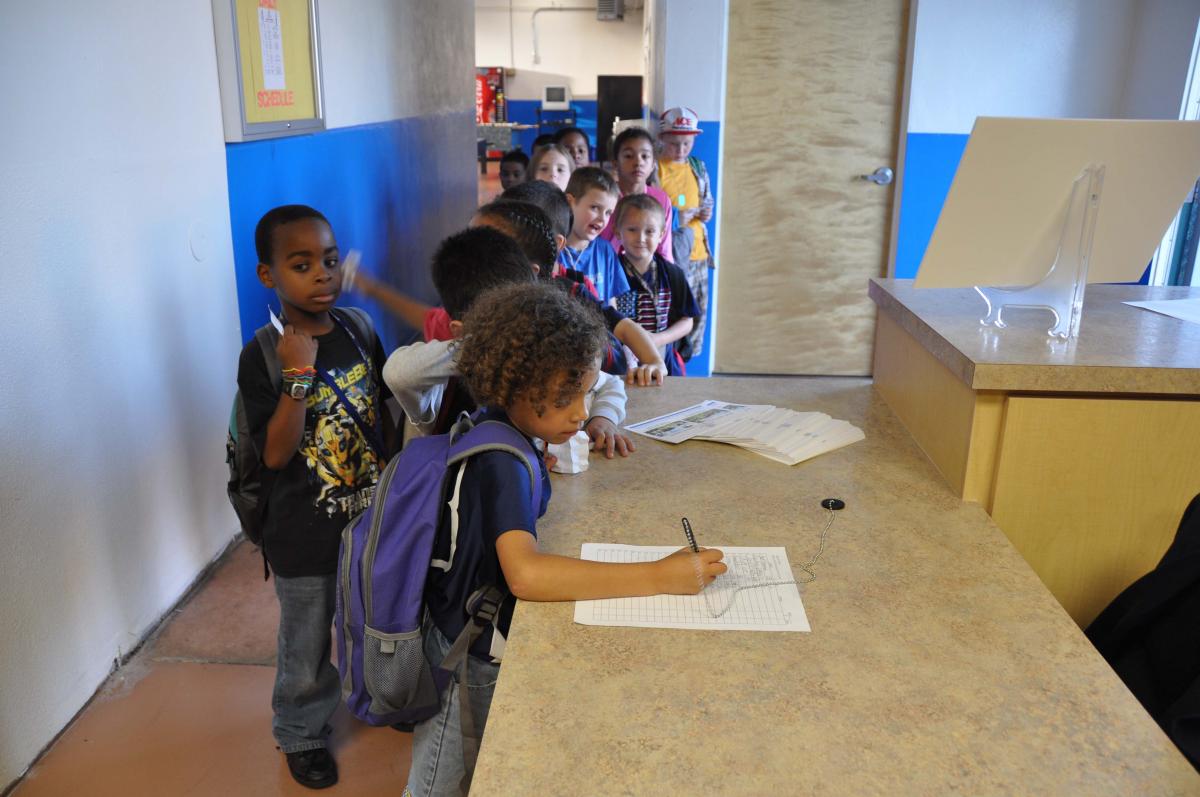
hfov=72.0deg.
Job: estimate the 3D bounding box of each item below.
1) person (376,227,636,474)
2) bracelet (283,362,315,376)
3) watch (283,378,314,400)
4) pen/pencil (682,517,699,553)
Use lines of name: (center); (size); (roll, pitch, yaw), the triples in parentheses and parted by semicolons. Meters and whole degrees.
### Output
person: (-0.191, -0.117, 2.026); (0.416, 0.812, 0.434); (20, 43, 15)
bracelet: (-0.750, -0.078, 2.071); (0.042, 0.020, 0.039); (2, 10, 1)
watch: (-0.742, -0.023, 2.049); (0.044, 0.030, 0.051); (-2, 19, -24)
pen/pencil: (0.186, 0.285, 1.680); (0.018, 0.108, 0.013); (-5, 38, 22)
